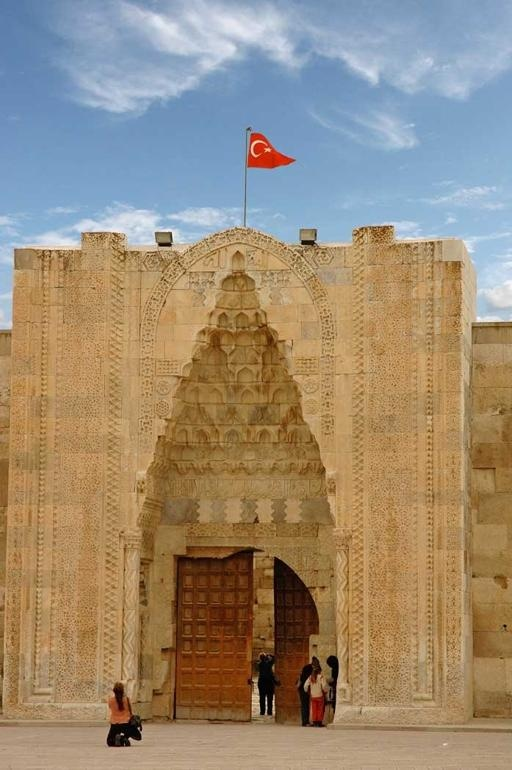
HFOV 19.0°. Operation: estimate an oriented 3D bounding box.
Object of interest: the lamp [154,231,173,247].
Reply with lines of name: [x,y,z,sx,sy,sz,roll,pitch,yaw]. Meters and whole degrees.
lamp: [-0.986,-1.543,16.318,0.172,0.151,0.168,0,-4,1]
